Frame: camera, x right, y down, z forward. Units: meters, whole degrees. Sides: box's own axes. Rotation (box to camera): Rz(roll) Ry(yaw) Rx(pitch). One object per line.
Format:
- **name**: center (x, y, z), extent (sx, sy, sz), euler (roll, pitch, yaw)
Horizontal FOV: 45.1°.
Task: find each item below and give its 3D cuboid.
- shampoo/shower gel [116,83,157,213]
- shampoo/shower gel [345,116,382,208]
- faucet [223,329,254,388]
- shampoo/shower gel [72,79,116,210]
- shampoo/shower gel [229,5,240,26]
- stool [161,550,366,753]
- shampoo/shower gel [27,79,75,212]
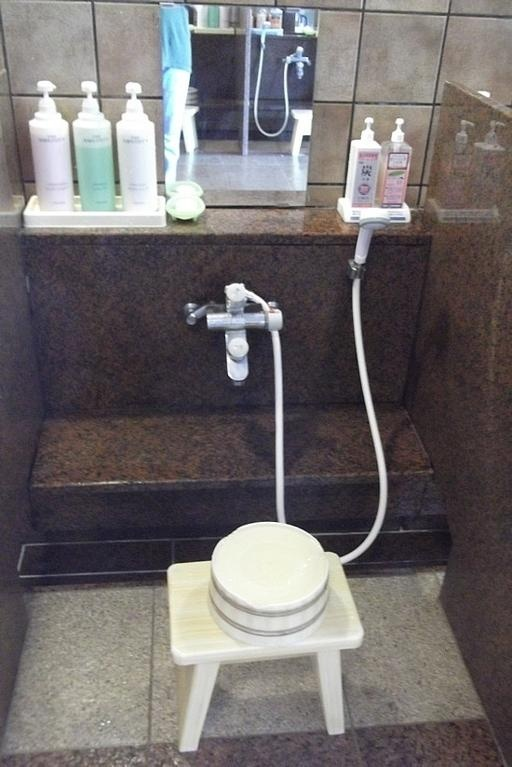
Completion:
- **shampoo/shower gel**: center (-0.248, -0.497, 1.296), extent (0.077, 0.243, 0.144), euler (-3, 31, -9)
- **shampoo/shower gel**: center (0.243, -0.494, 1.381), extent (0.071, 0.186, 0.097), euler (6, 30, 5)
- **faucet**: center (-0.044, -0.051, 1.219), extent (0.043, 0.109, 0.038), euler (0, 8, 0)
- **shampoo/shower gel**: center (-0.331, -0.495, 1.265), extent (0.088, 0.314, 0.084), euler (-5, 39, -9)
- **shampoo/shower gel**: center (-0.043, -0.735, 1.236), extent (0.025, 0.043, 0.024), euler (-6, 15, -20)
- **stool**: center (0.012, 0.461, 1.230), extent (0.442, 0.384, 0.331), euler (-3, 42, -4)
- **shampoo/shower gel**: center (-0.412, -0.469, 1.238), extent (0.073, 0.244, 0.061), euler (-9, 32, -18)
